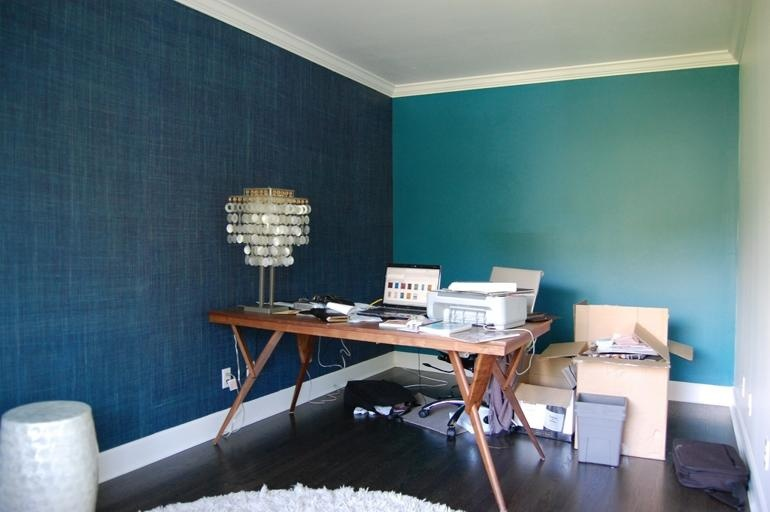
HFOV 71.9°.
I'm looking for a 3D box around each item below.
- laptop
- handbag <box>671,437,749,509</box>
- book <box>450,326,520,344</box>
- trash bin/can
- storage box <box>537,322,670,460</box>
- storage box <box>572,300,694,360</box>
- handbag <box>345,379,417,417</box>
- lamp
[{"bbox_3d":[0.163,0.199,4.158,0.509,0.335,0.396,2,4,27],"label":"laptop"},{"bbox_3d":[2.256,1.502,3.693,0.444,0.245,0.487,2,4,29],"label":"handbag"},{"bbox_3d":[0.686,0.523,3.543,0.318,0.036,0.499,3,5,38],"label":"book"},{"bbox_3d":[1.609,1.292,3.956,0.365,0.470,0.267,1,4,23],"label":"trash bin/can"},{"bbox_3d":[1.795,1.007,4.398,0.879,1.016,0.819,1,5,29],"label":"storage box"},{"bbox_3d":[1.966,0.570,4.431,0.630,0.436,0.632,0,-3,31],"label":"storage box"},{"bbox_3d":[-0.084,1.267,4.742,0.409,0.174,0.334,-6,-2,40],"label":"handbag"},{"bbox_3d":[-0.928,-0.049,4.206,0.636,0.961,0.312,-1,4,-10],"label":"lamp"}]
